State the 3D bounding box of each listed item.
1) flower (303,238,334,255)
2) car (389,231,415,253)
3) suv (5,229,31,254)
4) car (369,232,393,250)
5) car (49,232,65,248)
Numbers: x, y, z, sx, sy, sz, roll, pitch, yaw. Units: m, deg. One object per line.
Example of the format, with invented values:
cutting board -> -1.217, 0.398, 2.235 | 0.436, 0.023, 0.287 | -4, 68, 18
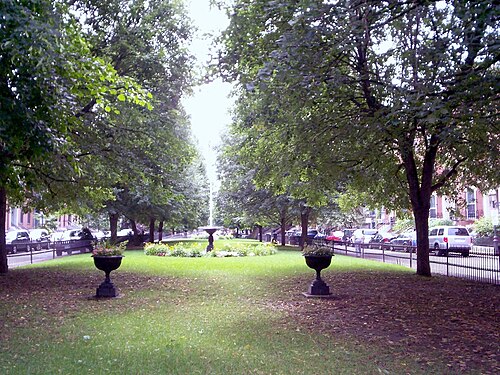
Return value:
flower -> 2.199, 2.099, 13.928 | 1.049, 0.632, 1.102 | 0, -8, -7
car -> 12.304, 4.390, 33.641 | 1.678, 1.429, 4.163 | 0, -2, 10
suv -> -18.860, 4.376, 33.734 | 1.778, 1.759, 3.125 | -1, -10, 1
car -> 12.477, 5.117, 39.620 | 1.294, 1.119, 3.224 | 0, -3, 5
car -> -18.123, 4.896, 38.977 | 1.297, 1.510, 2.228 | 1, -7, -18
